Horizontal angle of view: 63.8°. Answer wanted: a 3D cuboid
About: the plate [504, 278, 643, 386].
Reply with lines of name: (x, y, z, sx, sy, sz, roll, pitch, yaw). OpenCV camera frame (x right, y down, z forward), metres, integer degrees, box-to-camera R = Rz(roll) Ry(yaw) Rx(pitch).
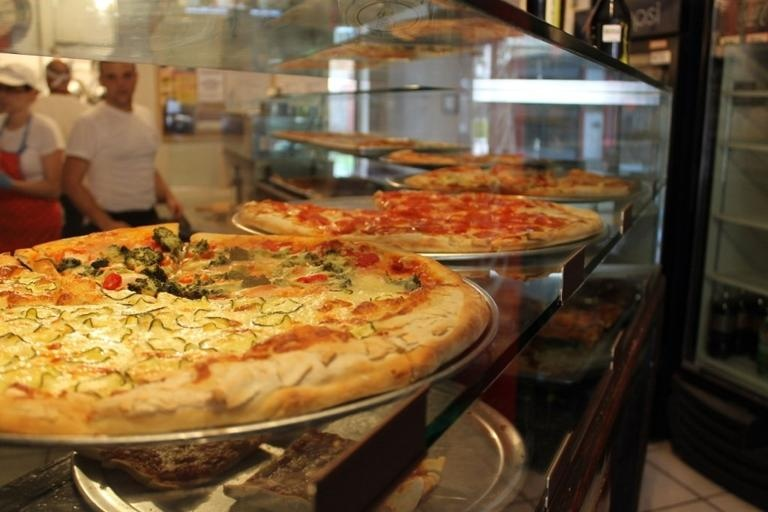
plate: (0.518, 0.160, 1.651, 0.184, 0.411, 0.035, 14, 47, -1)
